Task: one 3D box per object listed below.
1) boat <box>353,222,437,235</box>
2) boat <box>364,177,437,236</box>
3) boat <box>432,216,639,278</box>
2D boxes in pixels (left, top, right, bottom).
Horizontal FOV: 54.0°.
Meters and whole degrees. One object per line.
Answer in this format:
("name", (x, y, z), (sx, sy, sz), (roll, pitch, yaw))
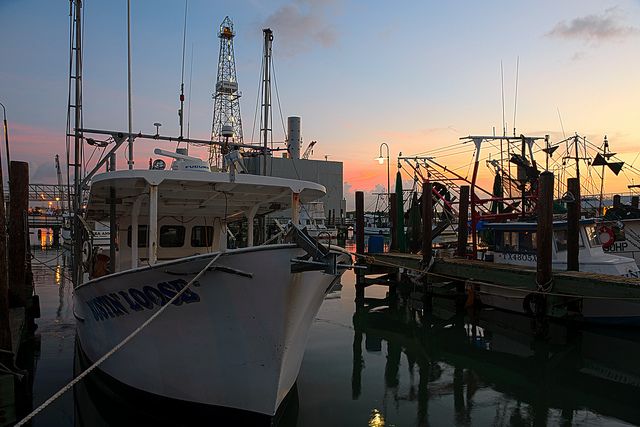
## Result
("boat", (3.985, 0.825, 33.844), (5.029, 0.956, 1.565), (0, 1, 16))
("boat", (5.749, 0.177, 49.822), (7.736, 4.492, 2.616), (-1, -10, 34))
("boat", (7.836, 1.114, 22.570), (2.771, 2.094, 5.495), (0, -1, -40))
